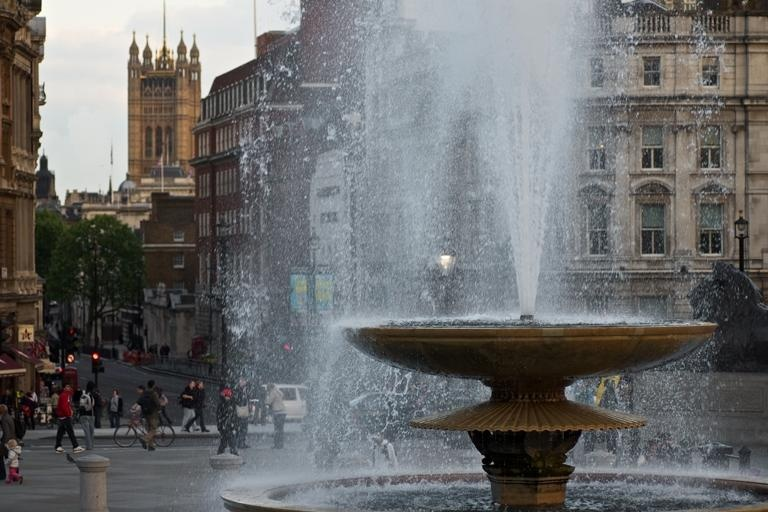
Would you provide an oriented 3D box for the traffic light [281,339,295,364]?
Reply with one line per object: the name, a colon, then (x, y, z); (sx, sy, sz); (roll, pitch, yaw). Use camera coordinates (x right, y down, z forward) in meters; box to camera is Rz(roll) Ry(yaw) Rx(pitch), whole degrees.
traffic light: (-5.354, 5.356, 110.066); (0.309, 1.180, 0.945); (-12, 1, -17)
